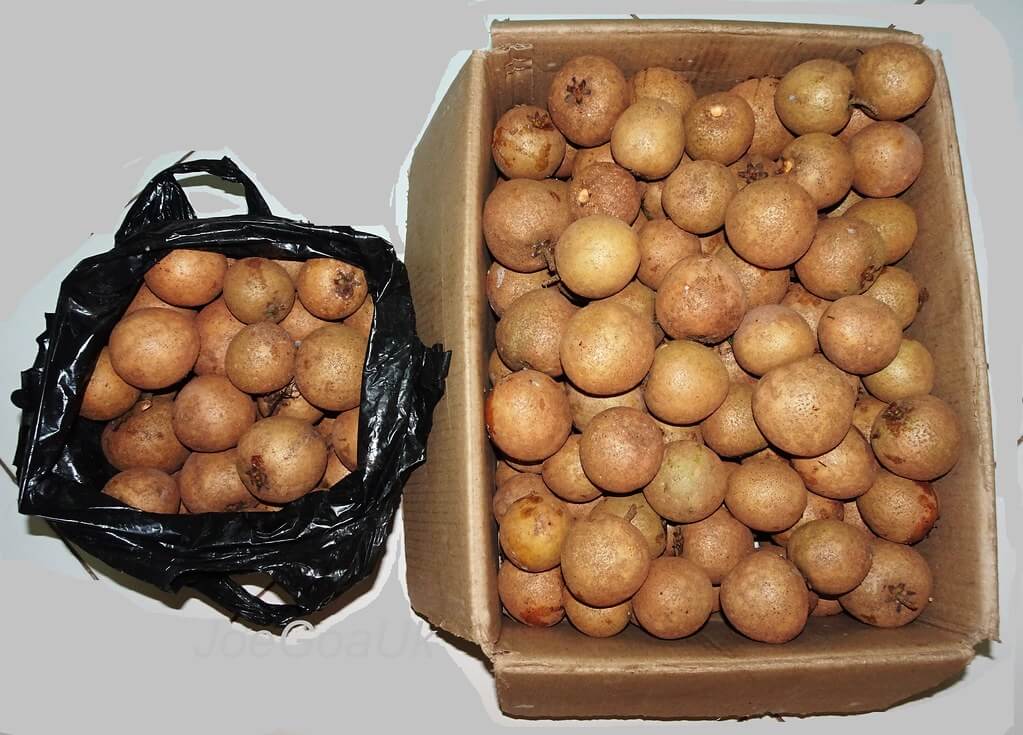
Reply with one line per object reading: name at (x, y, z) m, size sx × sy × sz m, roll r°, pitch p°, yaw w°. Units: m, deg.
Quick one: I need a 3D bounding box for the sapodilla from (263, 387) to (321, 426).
sapodilla at (-0.654, 0.119, 2.865) m, size 0.133 × 0.105 × 0.112 m, roll 4°, pitch 86°, yaw -6°

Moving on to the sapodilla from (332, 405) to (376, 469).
sapodilla at (-0.481, 0.201, 2.832) m, size 0.139 × 0.147 × 0.177 m, roll 0°, pitch 90°, yaw 18°

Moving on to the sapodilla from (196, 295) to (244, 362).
sapodilla at (-0.867, -0.116, 2.905) m, size 0.130 × 0.093 × 0.172 m, roll 15°, pitch 97°, yaw 11°

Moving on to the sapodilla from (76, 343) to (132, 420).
sapodilla at (-1.175, 0.041, 2.831) m, size 0.173 × 0.185 × 0.222 m, roll 1°, pitch 98°, yaw -6°

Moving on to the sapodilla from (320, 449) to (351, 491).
sapodilla at (-0.527, 0.311, 2.884) m, size 0.098 × 0.120 × 0.106 m, roll 2°, pitch 83°, yaw -11°

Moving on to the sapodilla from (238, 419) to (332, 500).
sapodilla at (-0.661, 0.262, 2.794) m, size 0.244 × 0.153 × 0.224 m, roll -3°, pitch 64°, yaw -1°

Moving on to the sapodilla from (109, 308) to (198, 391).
sapodilla at (-1.034, -0.060, 2.814) m, size 0.240 × 0.124 × 0.197 m, roll 1°, pitch 65°, yaw 1°

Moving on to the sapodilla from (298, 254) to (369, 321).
sapodilla at (-0.543, -0.235, 2.942) m, size 0.178 × 0.133 × 0.174 m, roll 37°, pitch 82°, yaw -15°

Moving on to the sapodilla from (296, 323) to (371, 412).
sapodilla at (-0.519, 0.004, 2.876) m, size 0.221 × 0.231 × 0.236 m, roll 1°, pitch 94°, yaw -22°
